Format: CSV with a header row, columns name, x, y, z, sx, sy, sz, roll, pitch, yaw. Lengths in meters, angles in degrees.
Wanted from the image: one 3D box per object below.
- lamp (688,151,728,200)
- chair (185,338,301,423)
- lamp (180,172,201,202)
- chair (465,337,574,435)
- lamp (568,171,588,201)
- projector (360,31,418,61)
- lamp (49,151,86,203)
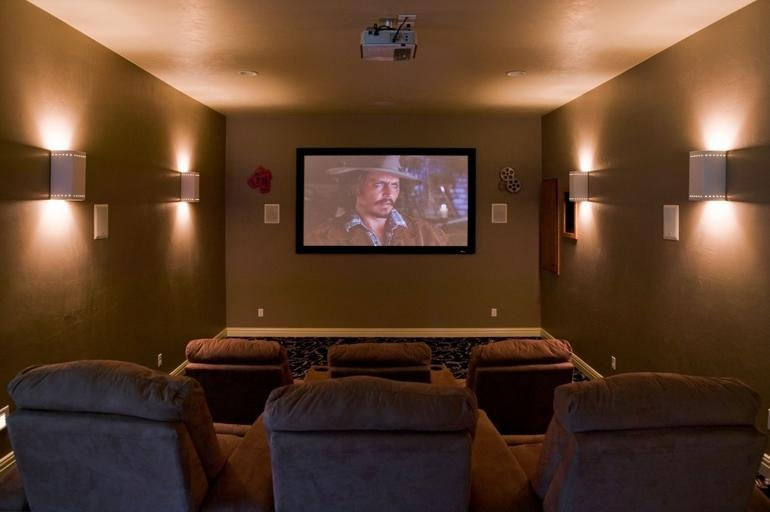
name,x,y,z,sx,sy,sz,roll,pitch,yaw
lamp,2.726,-0.684,4.639,0.275,0.406,0.107,3,5,33
chair,-1.100,0.881,4.395,0.706,0.704,0.682,1,4,5
lamp,-2.425,-0.870,6.813,0.216,0.351,0.106,-2,5,-30
chair,1.061,0.977,4.491,0.745,0.779,0.732,0,2,2
lamp,2.380,-0.860,6.726,0.210,0.343,0.118,1,4,9
projector,0.027,-1.866,4.853,0.464,0.175,0.334,1,4,-1
lamp,-2.714,-0.692,4.717,0.290,0.414,0.190,-3,6,-41
